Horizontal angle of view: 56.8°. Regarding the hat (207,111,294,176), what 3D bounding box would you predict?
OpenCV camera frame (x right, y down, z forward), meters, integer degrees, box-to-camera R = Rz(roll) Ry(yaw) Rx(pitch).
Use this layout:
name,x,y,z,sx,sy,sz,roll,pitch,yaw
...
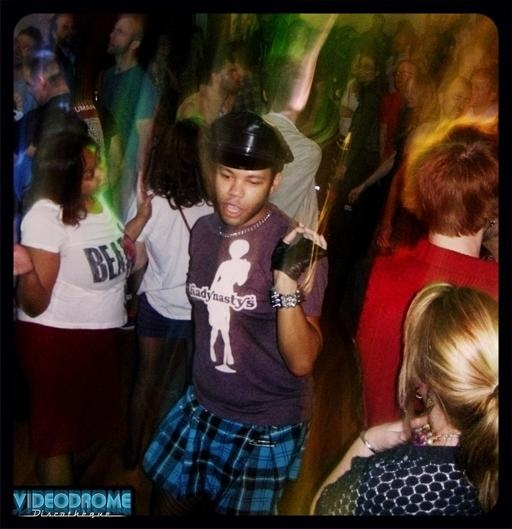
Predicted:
name,x,y,z,sx,sy,sz,roll,pitch,yaw
hat,-0.027,-0.378,1.424,0.210,0.129,0.166,11,23,27

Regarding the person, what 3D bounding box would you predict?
name,x,y,z,sx,sy,sz,roll,pitch,yaw
person,-0.052,-0.047,1.458,1.377,1.575,0.387,1,0,-1
